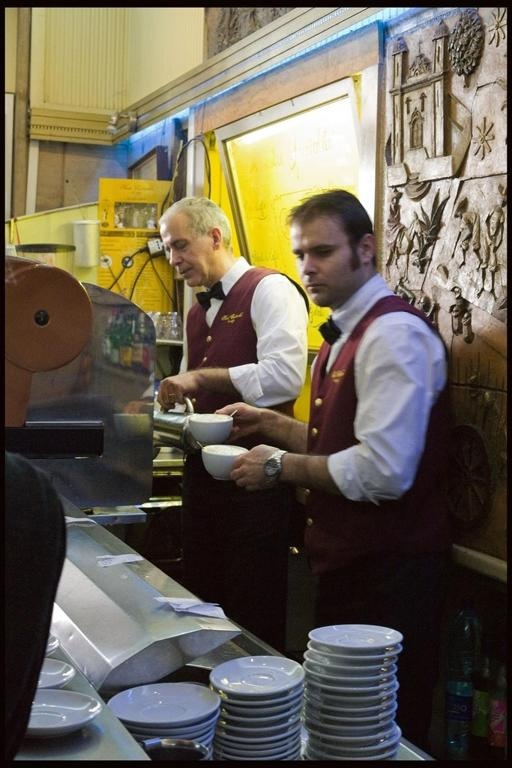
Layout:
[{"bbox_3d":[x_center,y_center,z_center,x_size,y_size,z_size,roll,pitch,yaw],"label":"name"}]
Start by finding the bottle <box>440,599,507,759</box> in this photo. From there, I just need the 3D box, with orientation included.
[{"bbox_3d":[0.505,0.691,1.463,0.134,0.319,0.141,1,7,0],"label":"bottle"}]

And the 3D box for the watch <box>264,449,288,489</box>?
[{"bbox_3d":[0.044,0.203,1.454,0.046,0.080,0.071,12,4,22],"label":"watch"}]

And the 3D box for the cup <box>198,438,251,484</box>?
[{"bbox_3d":[-0.075,0.190,1.608,0.148,0.095,0.150,4,-5,0],"label":"cup"}]

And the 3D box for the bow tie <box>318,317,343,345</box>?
[{"bbox_3d":[0.166,-0.119,1.411,0.045,0.062,0.021,-3,-3,39],"label":"bow tie"}]
